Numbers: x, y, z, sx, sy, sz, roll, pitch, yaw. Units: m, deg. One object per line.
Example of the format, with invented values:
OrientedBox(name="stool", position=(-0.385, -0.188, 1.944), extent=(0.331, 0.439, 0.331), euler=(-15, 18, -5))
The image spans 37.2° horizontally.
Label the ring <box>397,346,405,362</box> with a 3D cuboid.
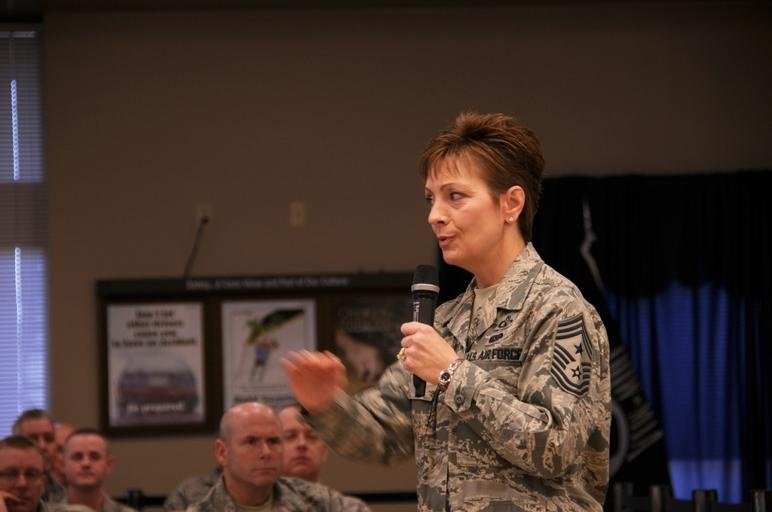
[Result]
OrientedBox(name="ring", position=(0.081, 0.472, 5.429), extent=(0.026, 0.070, 0.050), euler=(-6, 30, -38))
